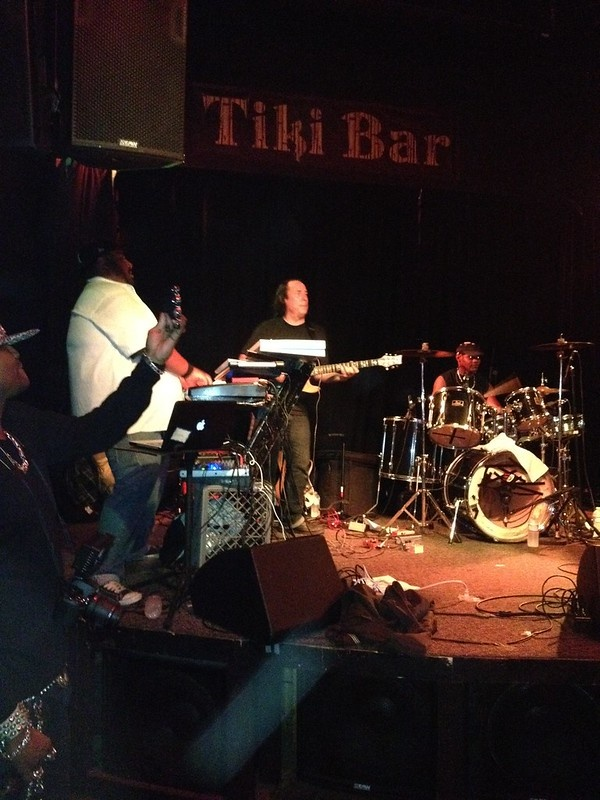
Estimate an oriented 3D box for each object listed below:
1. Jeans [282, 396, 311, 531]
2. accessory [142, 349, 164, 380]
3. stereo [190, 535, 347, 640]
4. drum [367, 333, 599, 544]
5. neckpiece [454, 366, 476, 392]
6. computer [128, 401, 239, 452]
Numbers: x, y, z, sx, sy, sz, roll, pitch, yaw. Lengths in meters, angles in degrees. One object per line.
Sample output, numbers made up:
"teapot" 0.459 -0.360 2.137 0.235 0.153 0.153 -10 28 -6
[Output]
"Jeans" -0.024 0.496 5.245 0.193 0.912 0.445 3 8 1
"accessory" -0.518 -0.121 2.505 0.074 0.019 0.077 37 -20 20
"stereo" -0.146 0.722 2.870 0.441 0.265 0.448 6 7 44
"drum" 1.567 0.342 5.794 1.864 1.598 0.751 0 2 -20
"neckpiece" 1.482 -0.155 6.346 0.212 0.273 0.089 13 -23 -15
"computer" -0.483 0.109 3.140 0.356 0.178 0.237 4 2 -43
